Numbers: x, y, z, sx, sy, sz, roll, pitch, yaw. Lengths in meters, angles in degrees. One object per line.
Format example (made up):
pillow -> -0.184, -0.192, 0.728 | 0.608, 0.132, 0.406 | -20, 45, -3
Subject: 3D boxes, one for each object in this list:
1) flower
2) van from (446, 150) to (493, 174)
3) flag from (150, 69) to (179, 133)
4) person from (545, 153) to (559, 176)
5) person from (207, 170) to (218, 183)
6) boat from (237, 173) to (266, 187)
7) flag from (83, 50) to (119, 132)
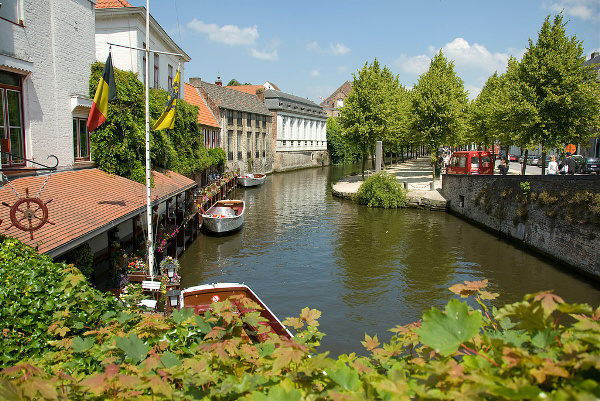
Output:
flower -> -5.059, 2.006, 15.483 | 1.256, 0.646, 1.998 | 3, 33, -9
van -> 13.064, -2.839, 34.999 | 2.071, 1.973, 3.926 | 0, 7, 1
flag -> -5.308, -4.039, 18.241 | 0.970, 2.499, 5.472 | -3, 9, -14
person -> 15.144, -2.115, 27.259 | 0.485, 1.119, 1.127 | 3, 10, 25
person -> -7.395, -1.834, 38.795 | 0.378, 1.379, 1.476 | 5, 4, 10
boat -> -5.107, -2.169, 48.659 | 3.422, 1.303, 3.093 | -5, 10, -28
flag -> -5.787, -3.153, 13.206 | 0.572, 2.258, 1.055 | 1, 9, 7
